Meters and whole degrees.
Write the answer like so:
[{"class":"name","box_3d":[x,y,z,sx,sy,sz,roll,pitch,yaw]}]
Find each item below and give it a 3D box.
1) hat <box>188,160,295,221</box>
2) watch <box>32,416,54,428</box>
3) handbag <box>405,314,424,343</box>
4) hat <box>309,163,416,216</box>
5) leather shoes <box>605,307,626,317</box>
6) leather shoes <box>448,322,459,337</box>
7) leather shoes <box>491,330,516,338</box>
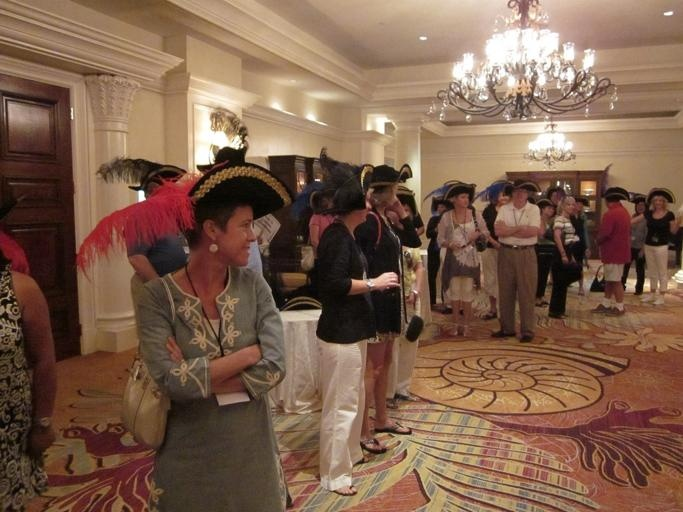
[{"class":"hat","box_3d":[-0.419,-0.275,2.255,0.289,0.123,0.249,6,-30,-37]},{"class":"watch","box_3d":[-1.482,0.824,2.631,0.065,0.049,0.066,4,0,28]},{"class":"handbag","box_3d":[0.537,0.539,3.933,0.117,0.247,0.321,2,10,8]},{"class":"hat","box_3d":[0.097,-0.462,3.559,0.373,0.331,0.715,4,11,21]},{"class":"leather shoes","box_3d":[3.999,0.820,7.777,0.219,0.095,0.125,1,1,11]},{"class":"leather shoes","box_3d":[1.418,0.939,6.715,0.113,0.133,0.339,-2,-9,12]},{"class":"leather shoes","box_3d":[1.987,0.967,6.516,0.279,0.112,0.109,3,-4,-2]}]
